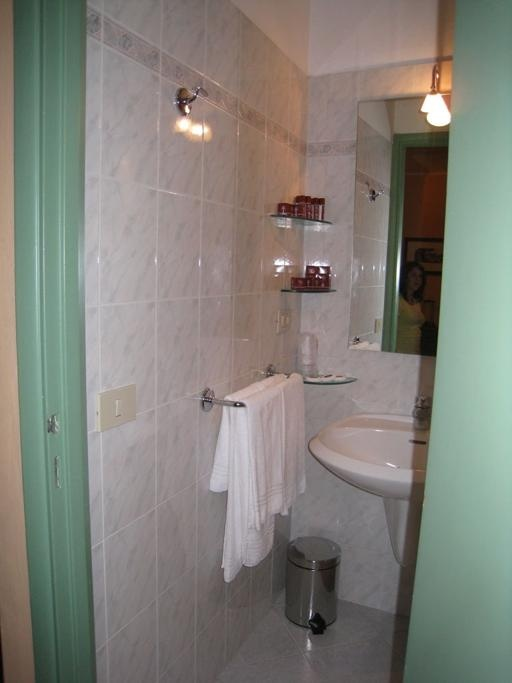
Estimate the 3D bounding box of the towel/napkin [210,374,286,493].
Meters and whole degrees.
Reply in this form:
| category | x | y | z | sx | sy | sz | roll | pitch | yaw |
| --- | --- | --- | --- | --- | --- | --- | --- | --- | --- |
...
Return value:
| category | x | y | z | sx | sy | sz | roll | pitch | yaw |
| --- | --- | --- | --- | --- | --- | --- | --- | --- | --- |
| towel/napkin | -0.037 | 0.280 | 1.601 | 0.067 | 0.323 | 0.234 | 6 | 7 | 25 |

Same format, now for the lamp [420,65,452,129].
| category | x | y | z | sx | sy | sz | roll | pitch | yaw |
| --- | --- | --- | --- | --- | --- | --- | --- | --- | --- |
| lamp | 0.631 | -0.874 | 1.910 | 0.063 | 0.227 | 0.074 | 6 | -8 | -3 |

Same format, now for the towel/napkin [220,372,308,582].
| category | x | y | z | sx | sy | sz | roll | pitch | yaw |
| --- | --- | --- | --- | --- | --- | --- | --- | --- | --- |
| towel/napkin | 0.019 | 0.426 | 1.735 | 0.153 | 0.764 | 0.597 | 2 | 6 | 16 |
